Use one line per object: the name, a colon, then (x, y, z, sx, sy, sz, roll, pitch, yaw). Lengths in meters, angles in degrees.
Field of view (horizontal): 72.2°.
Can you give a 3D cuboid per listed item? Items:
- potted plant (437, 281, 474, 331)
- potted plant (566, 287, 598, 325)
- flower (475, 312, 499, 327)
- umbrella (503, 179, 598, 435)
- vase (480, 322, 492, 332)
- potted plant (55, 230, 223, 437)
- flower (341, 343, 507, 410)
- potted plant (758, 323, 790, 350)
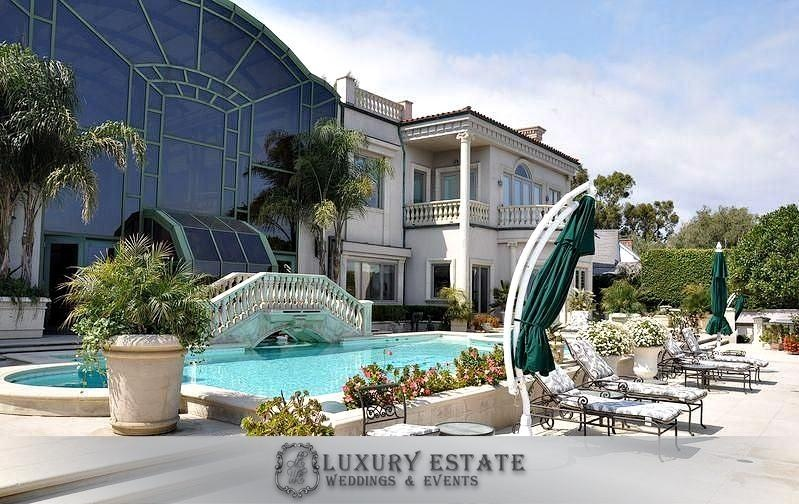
potted plant: (2.961, 2.693, 26.060, 1.954, 2.594, 1.757, -3, -8, 26)
potted plant: (9.547, 2.700, 28.417, 1.486, 2.104, 1.663, -1, -3, 45)
flower: (4.123, 3.239, 26.339, 0.784, 0.465, 0.813, 3, -10, -8)
umbrella: (2.694, 0.941, 9.942, 1.567, 4.678, 0.833, 1, -6, 7)
vase: (4.105, 3.562, 25.949, 0.370, 0.300, 0.368, -1, -5, 4)
potted plant: (-5.060, 1.692, 10.763, 2.965, 3.554, 2.648, -3, -9, -22)
flower: (0.633, 2.645, 11.512, 2.510, 0.798, 1.632, -11, 9, -35)
potted plant: (15.626, 3.543, 23.017, 1.012, 1.495, 1.100, -3, -4, 30)
